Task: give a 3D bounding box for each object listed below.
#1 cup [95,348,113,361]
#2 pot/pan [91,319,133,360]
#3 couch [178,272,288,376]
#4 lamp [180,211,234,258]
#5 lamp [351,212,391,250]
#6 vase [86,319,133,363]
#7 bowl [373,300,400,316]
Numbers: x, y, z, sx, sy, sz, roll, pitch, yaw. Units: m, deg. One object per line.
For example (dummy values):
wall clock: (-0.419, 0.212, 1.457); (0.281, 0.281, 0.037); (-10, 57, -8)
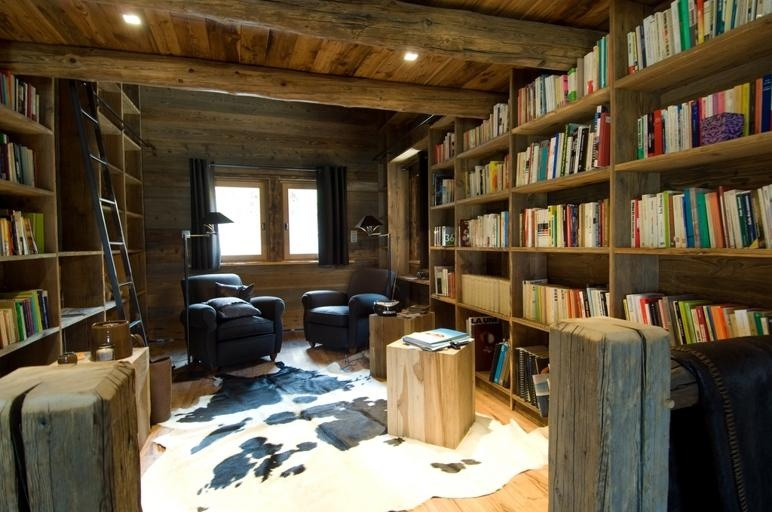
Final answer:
cup: (-1.696, 0.587, 2.916); (0.092, 0.089, 0.133); (-6, 12, -26)
pot/pan: (-1.704, 0.513, 3.003); (0.277, 0.212, 0.246); (0, -1, -19)
couch: (-1.591, 0.611, 5.002); (1.067, 0.744, 1.013); (-1, 7, -14)
lamp: (-1.833, -0.195, 4.942); (0.519, 0.456, 0.249); (-14, 9, -36)
lamp: (-0.239, -0.330, 6.516); (0.487, 0.363, 0.502); (-10, -14, 26)
vase: (-1.770, 0.533, 3.084); (0.256, 0.209, 0.236); (6, 7, 24)
bowl: (0.000, 0.478, 4.463); (0.208, 0.076, 0.205); (0, -2, 0)
